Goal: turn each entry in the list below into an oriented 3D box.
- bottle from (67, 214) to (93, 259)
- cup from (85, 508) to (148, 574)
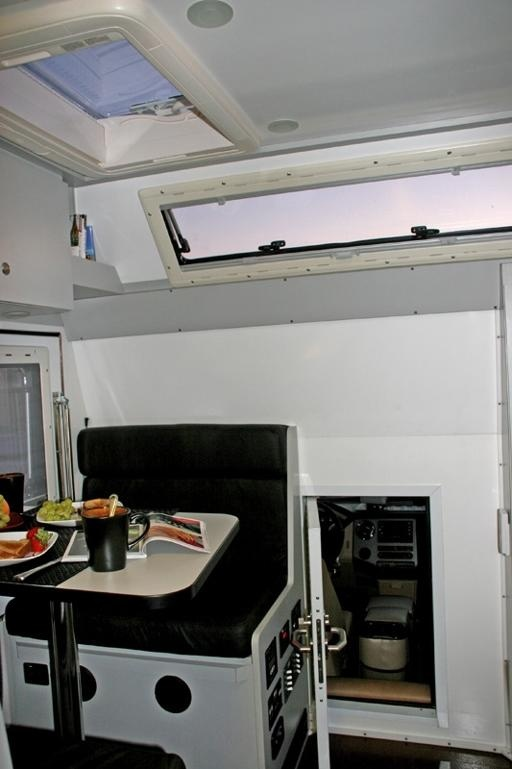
[{"bbox_3d":[-0.632,-0.538,2.089,0.047,0.154,0.138,1,3,20],"label":"bottle"},{"bbox_3d":[-0.279,0.314,1.161,0.125,0.115,0.084,-1,1,-34],"label":"cup"}]
